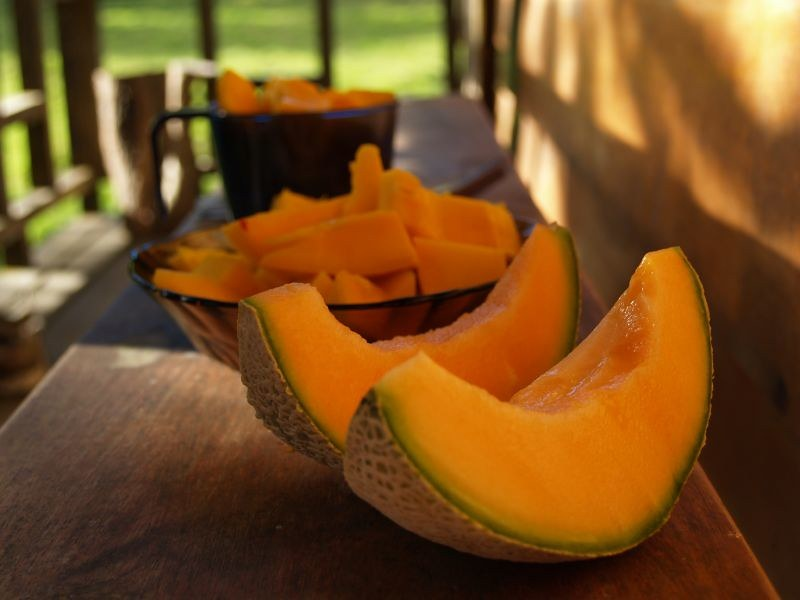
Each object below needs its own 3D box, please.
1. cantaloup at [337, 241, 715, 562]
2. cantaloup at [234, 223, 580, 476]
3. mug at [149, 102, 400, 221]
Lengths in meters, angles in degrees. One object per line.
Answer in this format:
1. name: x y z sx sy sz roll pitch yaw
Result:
1. cantaloup: 0.103 0.069 0.450 0.229 0.150 0.133 -23 16 -18
2. cantaloup: 0.017 0.011 0.444 0.177 0.126 0.151 -12 23 -28
3. mug: -0.134 -0.153 0.748 0.193 0.121 0.143 -6 11 2
